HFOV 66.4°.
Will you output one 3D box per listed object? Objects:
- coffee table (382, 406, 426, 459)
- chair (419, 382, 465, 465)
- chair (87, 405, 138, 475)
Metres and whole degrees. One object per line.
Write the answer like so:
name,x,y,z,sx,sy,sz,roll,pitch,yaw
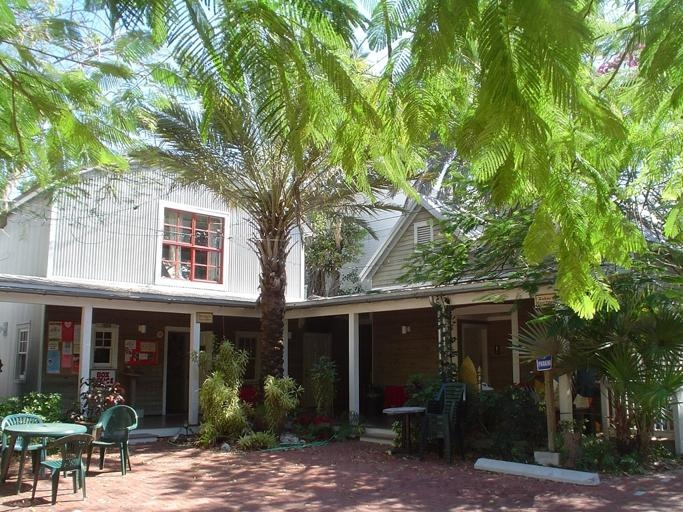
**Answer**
coffee table,1.304,3.548,10.770,0.909,0.936,0.935,-8,-11,37
chair,2.020,3.252,10.358,0.887,1.432,1.528,-2,-9,14
chair,-4.044,3.140,9.114,0.722,1.058,1.777,4,-11,-25
